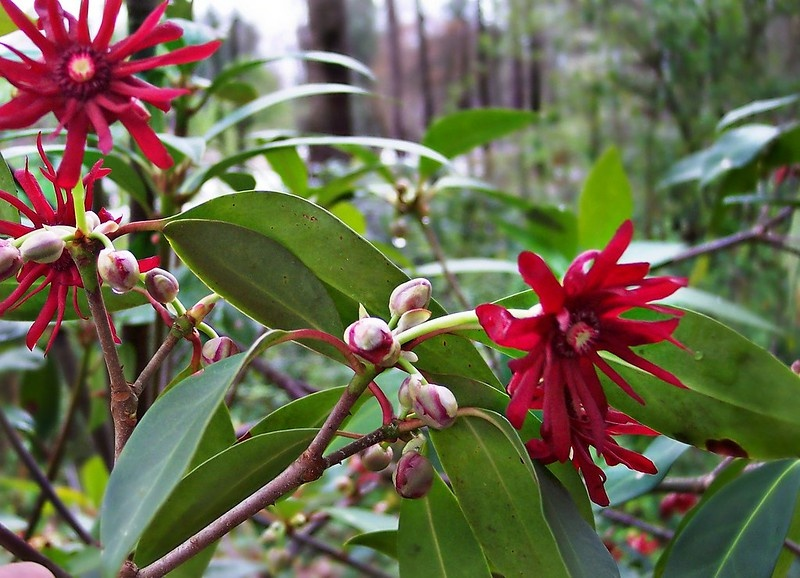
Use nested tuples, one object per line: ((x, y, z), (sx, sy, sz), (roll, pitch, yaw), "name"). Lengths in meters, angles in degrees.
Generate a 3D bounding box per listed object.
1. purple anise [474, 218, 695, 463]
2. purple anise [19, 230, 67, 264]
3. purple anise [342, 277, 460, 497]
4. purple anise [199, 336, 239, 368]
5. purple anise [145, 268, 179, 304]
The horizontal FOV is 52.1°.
((0.202, 0.040, 0.950), (0.273, 0.279, 0.067), (22, -23, -29), "purple anise")
((-0.390, -0.046, 0.908), (0.043, 0.035, 0.033), (1, -5, -4), "purple anise")
((0.005, 0.119, 0.961), (0.120, 0.259, 0.099), (-8, 5, -3), "purple anise")
((-0.216, 0.072, 0.980), (0.038, 0.023, 0.032), (-24, 28, 26), "purple anise")
((-0.277, -0.005, 0.951), (0.031, 0.042, 0.032), (-35, 0, 9), "purple anise")
